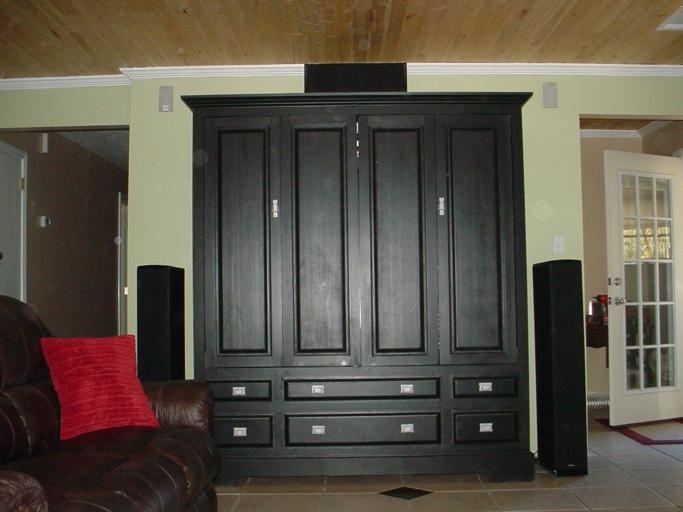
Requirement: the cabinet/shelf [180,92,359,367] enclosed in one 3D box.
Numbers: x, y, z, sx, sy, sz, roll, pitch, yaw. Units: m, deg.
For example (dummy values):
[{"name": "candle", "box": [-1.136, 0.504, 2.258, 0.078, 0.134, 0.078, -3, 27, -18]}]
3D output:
[{"name": "cabinet/shelf", "box": [-0.502, -0.116, 4.843, 1.437, 2.286, 0.653, 0, 4, 4]}]
